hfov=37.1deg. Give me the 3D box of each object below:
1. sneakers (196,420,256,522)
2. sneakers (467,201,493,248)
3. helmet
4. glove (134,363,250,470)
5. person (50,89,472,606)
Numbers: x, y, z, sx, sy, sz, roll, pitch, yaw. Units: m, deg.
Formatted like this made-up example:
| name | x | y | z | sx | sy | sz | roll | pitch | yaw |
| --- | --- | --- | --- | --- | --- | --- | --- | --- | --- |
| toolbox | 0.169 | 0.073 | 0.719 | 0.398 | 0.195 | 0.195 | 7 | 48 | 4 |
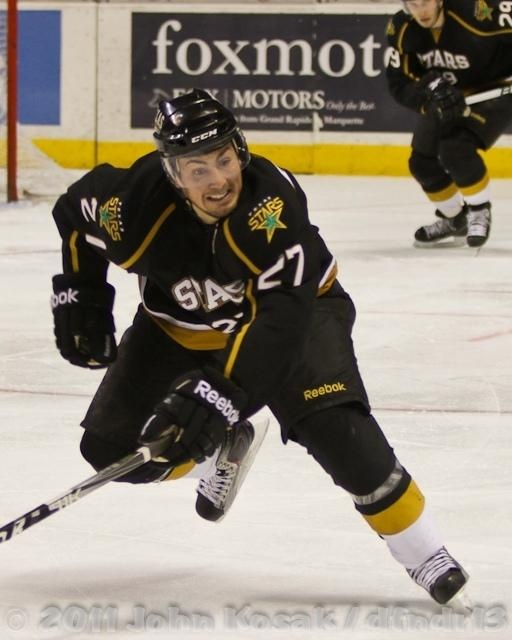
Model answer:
| name | x | y | z | sx | sy | sz | roll | pitch | yaw |
| --- | --- | --- | --- | --- | --- | --- | --- | --- | --- |
| sneakers | -0.052 | 0.341 | 1.778 | 0.083 | 0.106 | 0.250 | 39 | 57 | -8 |
| sneakers | 1.233 | -0.515 | 4.197 | 0.111 | 0.148 | 0.301 | -8 | 49 | 28 |
| helmet | -0.114 | -0.377 | 1.603 | 0.174 | 0.188 | 0.209 | -26 | 34 | -7 |
| glove | -0.113 | 0.177 | 1.382 | 0.172 | 0.170 | 0.119 | 7 | 18 | 0 |
| person | 0.014 | 0.020 | 1.687 | 1.069 | 0.908 | 0.603 | 14 | 21 | 42 |
